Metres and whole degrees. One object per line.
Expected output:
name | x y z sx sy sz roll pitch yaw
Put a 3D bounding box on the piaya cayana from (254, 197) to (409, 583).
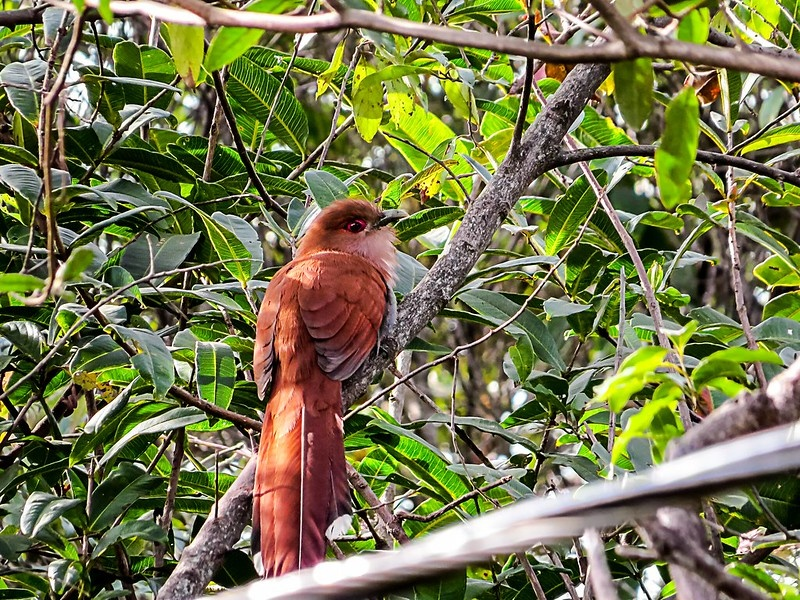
piaya cayana | -0.361 0.346 4.620 0.559 1.949 0.839 -3 -38 19
